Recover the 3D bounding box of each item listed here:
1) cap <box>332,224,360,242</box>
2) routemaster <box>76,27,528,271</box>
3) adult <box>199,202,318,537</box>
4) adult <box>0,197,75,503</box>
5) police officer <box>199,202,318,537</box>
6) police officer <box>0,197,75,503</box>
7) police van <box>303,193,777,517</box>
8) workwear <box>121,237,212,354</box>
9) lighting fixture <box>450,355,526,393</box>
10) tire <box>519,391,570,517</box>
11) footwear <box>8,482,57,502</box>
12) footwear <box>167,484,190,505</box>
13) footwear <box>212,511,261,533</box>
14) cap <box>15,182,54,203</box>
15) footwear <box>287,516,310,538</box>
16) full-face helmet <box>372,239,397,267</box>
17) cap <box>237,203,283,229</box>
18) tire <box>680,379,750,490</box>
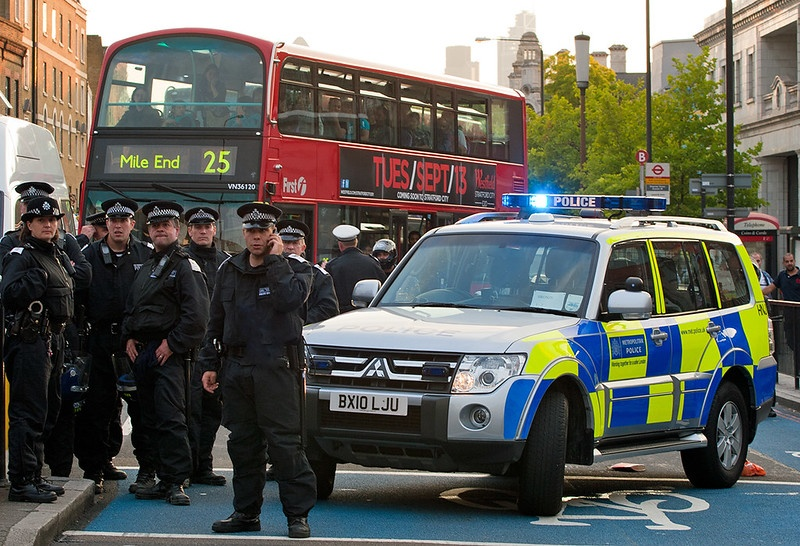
[{"bbox_3d":[-0.788,-0.567,12.397,0.416,0.162,0.428,-1,27,1],"label":"cap"},{"bbox_3d":[-1.719,-2.501,19.238,3.746,4.544,10.172,1,1,45],"label":"routemaster"},{"bbox_3d":[-1.098,0.728,6.766,0.935,2.528,0.353,-1,1,19],"label":"adult"},{"bbox_3d":[-2.984,0.590,7.197,0.530,2.441,0.683,-1,1,-13],"label":"adult"},{"bbox_3d":[-1.096,0.728,6.768,0.934,2.528,0.361,-1,1,19],"label":"police officer"},{"bbox_3d":[-2.989,0.590,7.199,0.526,2.441,0.682,-1,1,-11],"label":"police officer"},{"bbox_3d":[1.584,0.592,9.145,5.331,2.518,2.943,-4,4,-45],"label":"police van"},{"bbox_3d":[-2.153,0.239,7.990,1.161,0.955,0.549,2,-4,41],"label":"workwear"},{"bbox_3d":[0.697,0.795,6.949,0.604,0.325,0.119,-2,-2,27],"label":"lighting fixture"},{"bbox_3d":[1.148,1.491,7.151,0.398,1.050,0.285,-1,1,8],"label":"tire"},{"bbox_3d":[-2.910,1.733,7.013,0.450,0.181,0.143,0,1,4],"label":"footwear"},{"bbox_3d":[-1.929,1.936,7.677,0.199,0.163,0.209,-1,1,-18],"label":"footwear"},{"bbox_3d":[-1.254,1.938,6.818,0.391,0.138,0.145,4,-2,-10],"label":"footwear"},{"bbox_3d":[-3.158,-0.715,7.612,0.341,0.133,0.332,0,-1,-7],"label":"cap"},{"bbox_3d":[-0.756,1.905,6.591,0.168,0.167,0.164,-1,1,-6],"label":"footwear"},{"bbox_3d":[-0.306,-0.287,12.914,0.368,0.402,0.447,-3,-6,22],"label":"full-face helmet"},{"bbox_3d":[-1.080,-0.444,6.774,0.299,0.204,0.314,-1,1,-7],"label":"cap"},{"bbox_3d":[3.088,1.620,8.752,0.400,1.031,1.119,-2,6,40],"label":"tire"}]
